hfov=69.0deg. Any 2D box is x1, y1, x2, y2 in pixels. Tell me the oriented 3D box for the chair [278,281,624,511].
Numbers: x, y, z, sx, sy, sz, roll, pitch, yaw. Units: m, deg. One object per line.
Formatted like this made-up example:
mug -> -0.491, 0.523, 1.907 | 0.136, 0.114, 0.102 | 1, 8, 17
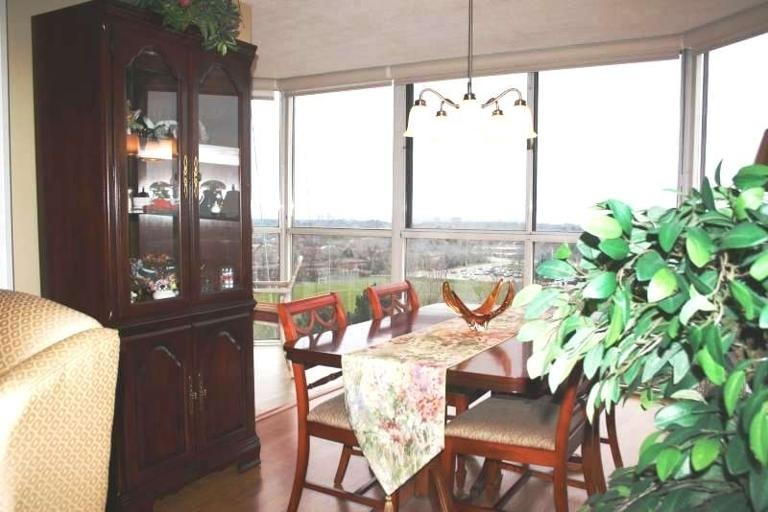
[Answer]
chair -> 0.270, 0.672, 2.461 | 0.754, 0.632, 1.193 | -1, 4, 27
